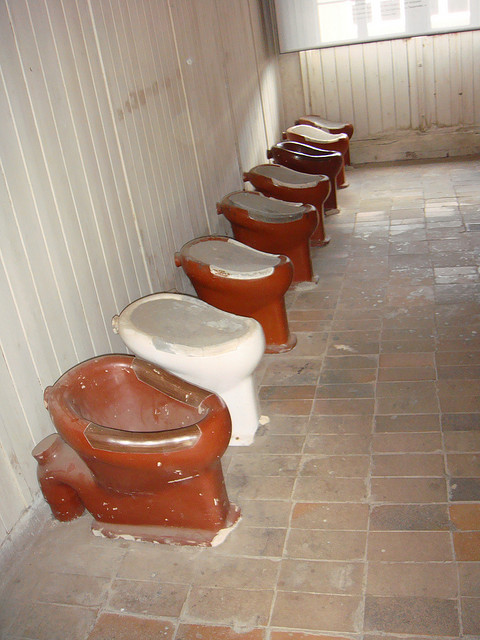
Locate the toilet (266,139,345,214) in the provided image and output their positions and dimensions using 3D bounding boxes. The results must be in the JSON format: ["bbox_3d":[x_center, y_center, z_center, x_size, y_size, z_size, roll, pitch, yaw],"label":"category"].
[{"bbox_3d":[0.651,-1.354,4.857,0.711,0.666,0.426,7,36,26],"label":"toilet"}]

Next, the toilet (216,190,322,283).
[{"bbox_3d":[0.212,-0.530,3.363,0.668,0.626,0.391,7,43,22],"label":"toilet"}]

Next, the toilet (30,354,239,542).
[{"bbox_3d":[-0.307,0.394,1.529,0.617,0.400,0.365,-1,30,7],"label":"toilet"}]

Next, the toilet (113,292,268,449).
[{"bbox_3d":[-0.146,0.196,1.950,0.558,0.493,0.353,6,35,21],"label":"toilet"}]

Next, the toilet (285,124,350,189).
[{"bbox_3d":[0.822,-1.855,5.549,0.756,0.670,0.614,0,44,12],"label":"toilet"}]

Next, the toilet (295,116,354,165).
[{"bbox_3d":[1.010,-2.185,6.031,0.625,0.531,0.506,-2,47,9],"label":"toilet"}]

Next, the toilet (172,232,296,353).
[{"bbox_3d":[-0.005,-0.149,2.667,0.693,0.501,0.445,21,41,35],"label":"toilet"}]
